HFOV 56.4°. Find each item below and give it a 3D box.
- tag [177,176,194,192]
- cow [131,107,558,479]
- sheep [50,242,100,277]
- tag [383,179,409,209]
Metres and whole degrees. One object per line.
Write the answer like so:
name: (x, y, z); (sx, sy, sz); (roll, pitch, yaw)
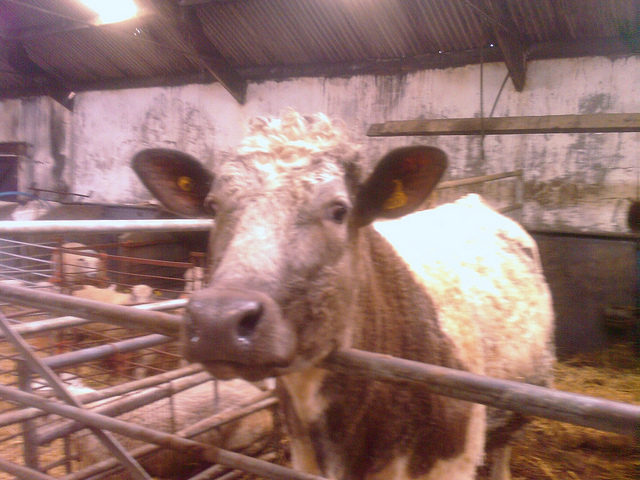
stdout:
tag: (-0.794, -0.329, 3.505); (0.098, 0.080, 0.023); (32, 30, 14)
cow: (0.332, 0.346, 3.359); (2.371, 1.717, 1.411); (0, 1, -43)
sheep: (-2.673, 0.233, 6.546); (0.479, 0.256, 2.378); (1, 1, -22)
tag: (0.395, -0.241, 3.161); (0.167, 0.159, 0.084); (0, 19, 4)
